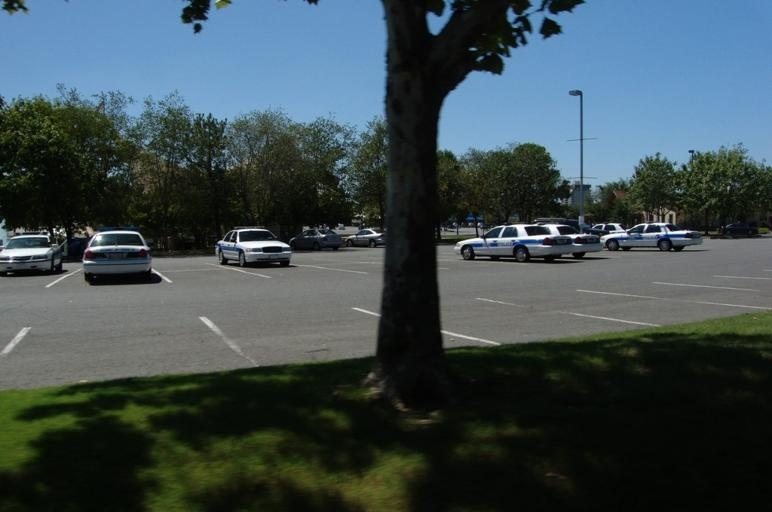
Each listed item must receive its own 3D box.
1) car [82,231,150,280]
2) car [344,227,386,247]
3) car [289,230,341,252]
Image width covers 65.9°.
[{"bbox_3d":[-9.312,-0.001,20.686,2.021,1.774,2.155,-3,3,-27],"label":"car"},{"bbox_3d":[-1.780,-1.650,56.017,4.239,1.600,1.958,6,6,44],"label":"car"},{"bbox_3d":[-5.947,-1.300,49.826,4.061,1.388,1.853,5,5,40],"label":"car"}]
